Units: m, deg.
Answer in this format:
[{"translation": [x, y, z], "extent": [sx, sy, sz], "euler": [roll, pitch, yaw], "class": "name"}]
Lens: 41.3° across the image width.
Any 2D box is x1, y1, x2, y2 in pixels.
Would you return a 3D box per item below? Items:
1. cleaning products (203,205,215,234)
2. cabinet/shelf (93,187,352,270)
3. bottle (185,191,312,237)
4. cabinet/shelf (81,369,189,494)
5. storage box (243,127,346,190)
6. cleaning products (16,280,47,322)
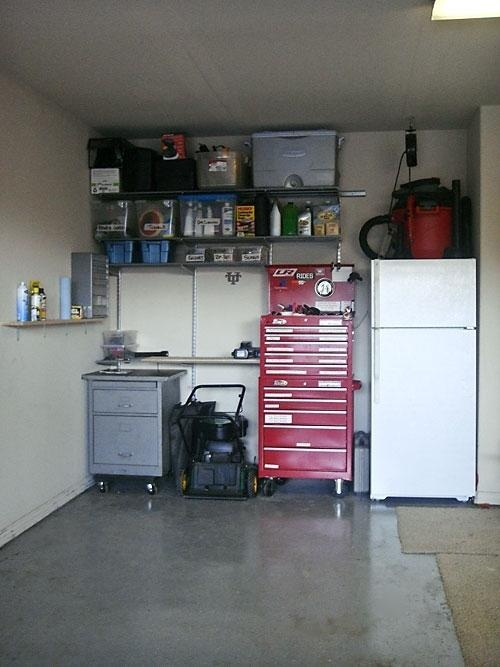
[{"translation": [-0.271, -0.741, 4.389], "extent": [0.075, 0.194, 0.041], "euler": [0, 6, 1], "class": "cleaning products"}, {"translation": [-0.081, -0.708, 4.683], "extent": [1.976, 0.488, 0.542], "euler": [3, 5, 20], "class": "cabinet/shelf"}, {"translation": [-0.024, -0.791, 4.474], "extent": [0.894, 0.291, 0.283], "euler": [0, 6, 3], "class": "bottle"}, {"translation": [-0.783, 0.635, 4.461], "extent": [0.562, 0.787, 0.429], "euler": [1, 6, 6], "class": "cabinet/shelf"}, {"translation": [0.284, -1.107, 4.231], "extent": [0.674, 0.370, 0.381], "euler": [1, 14, 7], "class": "storage box"}, {"translation": [-1.182, -0.175, 3.598], "extent": [0.125, 0.216, 0.307], "euler": [-1, 6, -7], "class": "cleaning products"}]
